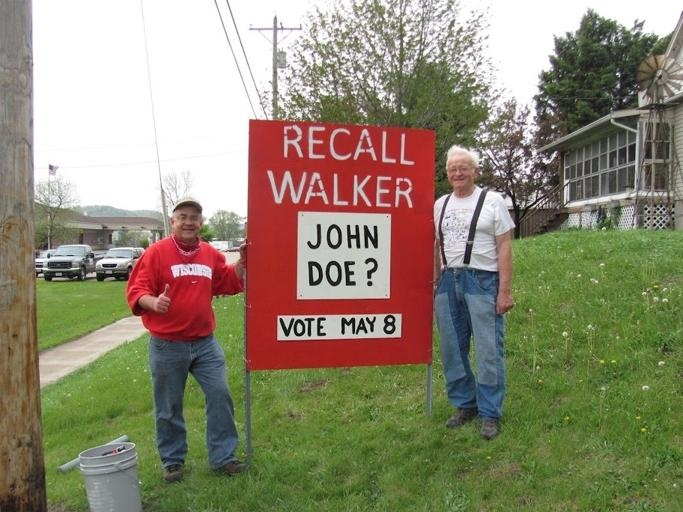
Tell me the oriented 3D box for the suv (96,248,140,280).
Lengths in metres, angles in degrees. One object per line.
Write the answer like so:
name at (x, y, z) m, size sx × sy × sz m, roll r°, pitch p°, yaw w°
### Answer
suv at (-10.406, 0.408, 26.996) m, size 1.271 × 1.340 × 2.520 m, roll -1°, pitch -3°, yaw 2°

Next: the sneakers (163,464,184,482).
sneakers at (-1.656, 2.154, 5.761) m, size 0.204 × 0.128 × 0.185 m, roll -11°, pitch 14°, yaw -21°

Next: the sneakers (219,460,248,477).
sneakers at (-1.069, 2.103, 5.767) m, size 0.249 × 0.127 × 0.131 m, roll -9°, pitch 0°, yaw 5°

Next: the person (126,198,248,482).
person at (-1.505, 0.816, 5.804) m, size 1.048 × 2.644 × 0.821 m, roll -10°, pitch 13°, yaw -23°

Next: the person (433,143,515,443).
person at (1.383, 0.346, 6.219) m, size 0.833 × 2.925 × 0.854 m, roll 3°, pitch 14°, yaw 30°

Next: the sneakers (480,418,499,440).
sneakers at (1.547, 1.793, 6.036) m, size 0.198 × 0.149 × 0.210 m, roll -3°, pitch 13°, yaw 12°

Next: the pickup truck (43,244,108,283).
pickup truck at (-13.728, 0.402, 30.031) m, size 1.550 × 1.422 × 3.058 m, roll -1°, pitch -1°, yaw 0°
